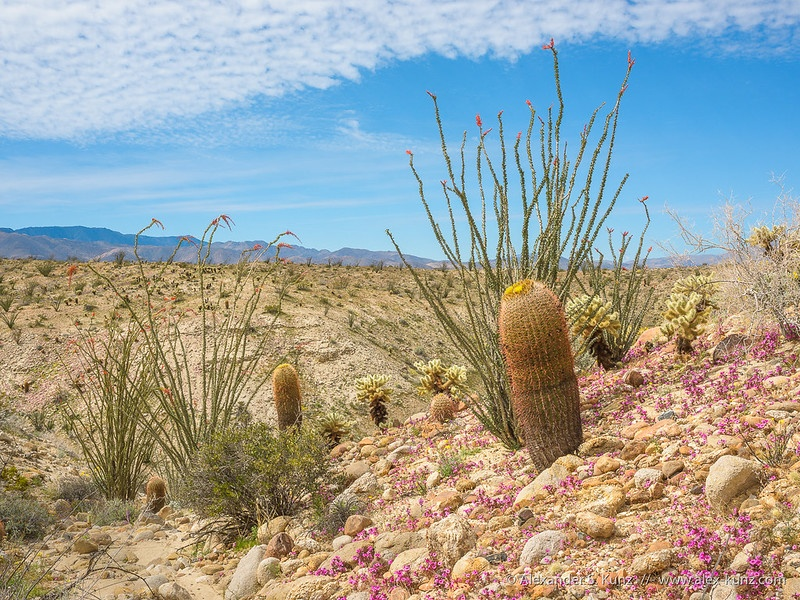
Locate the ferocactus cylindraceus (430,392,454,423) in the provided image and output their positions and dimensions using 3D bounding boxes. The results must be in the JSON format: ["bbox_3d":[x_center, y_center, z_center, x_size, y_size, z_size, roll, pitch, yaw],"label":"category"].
[{"bbox_3d":[0.718,1.808,10.123,0.398,0.401,0.393,0,0,-19],"label":"ferocactus cylindraceus"}]

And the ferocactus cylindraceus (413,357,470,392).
[{"bbox_3d":[0.724,1.361,10.676,0.742,0.465,0.686,-2,-4,-1],"label":"ferocactus cylindraceus"}]

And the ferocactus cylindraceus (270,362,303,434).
[{"bbox_3d":[-1.806,1.550,9.688,0.446,1.471,0.579,-4,6,-13],"label":"ferocactus cylindraceus"}]
